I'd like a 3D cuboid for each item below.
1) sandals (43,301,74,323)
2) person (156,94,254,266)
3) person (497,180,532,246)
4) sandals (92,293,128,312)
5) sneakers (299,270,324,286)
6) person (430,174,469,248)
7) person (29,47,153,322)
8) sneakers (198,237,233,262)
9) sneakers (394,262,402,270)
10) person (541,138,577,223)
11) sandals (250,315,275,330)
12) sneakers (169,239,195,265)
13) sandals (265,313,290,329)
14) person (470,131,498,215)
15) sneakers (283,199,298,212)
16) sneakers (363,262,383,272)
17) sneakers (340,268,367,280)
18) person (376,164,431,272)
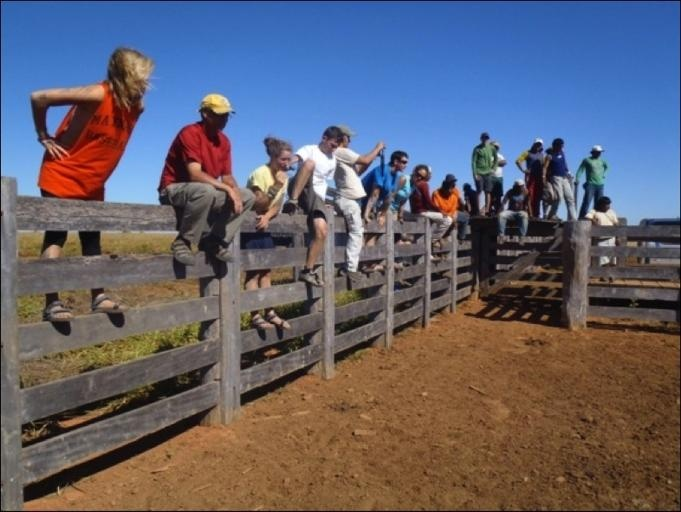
[{"bbox_3d":[-2.308,0.453,3.710,0.186,0.174,0.278,-5,8,-39],"label":"sandals"},{"bbox_3d":[-1.374,-0.782,4.650,0.888,1.728,0.712,-2,7,-24],"label":"person"},{"bbox_3d":[4.606,-1.197,11.996,0.788,1.586,1.192,3,7,22],"label":"person"},{"bbox_3d":[-2.061,0.442,4.071,0.269,0.146,0.162,1,8,13],"label":"sandals"},{"bbox_3d":[-0.378,0.301,6.239,0.276,0.138,0.198,10,15,20],"label":"sneakers"},{"bbox_3d":[2.654,-1.125,10.804,0.830,1.604,0.789,-2,8,-15],"label":"person"},{"bbox_3d":[-2.157,-0.685,4.030,0.922,2.373,0.710,-4,8,-36],"label":"person"},{"bbox_3d":[-1.287,-0.072,4.863,0.385,0.191,0.163,30,-31,-26],"label":"sneakers"},{"bbox_3d":[1.117,0.186,8.747,0.105,0.069,0.145,5,-2,-17],"label":"sneakers"},{"bbox_3d":[5.981,-2.080,12.289,0.730,2.129,0.977,5,8,38],"label":"person"},{"bbox_3d":[-1.009,0.824,5.676,0.153,0.124,0.255,-4,2,-43],"label":"sandals"},{"bbox_3d":[-1.532,-0.051,4.434,0.128,0.137,0.320,-17,45,-36],"label":"sneakers"},{"bbox_3d":[-0.802,0.864,5.886,0.304,0.128,0.165,34,35,-6],"label":"sandals"},{"bbox_3d":[4.009,-2.252,12.623,0.517,2.164,0.976,4,7,30],"label":"person"},{"bbox_3d":[-0.703,-0.718,6.506,0.201,0.237,0.134,-1,18,-6],"label":"sneakers"},{"bbox_3d":[0.559,0.198,7.741,0.165,0.102,0.264,0,6,31],"label":"sneakers"},{"bbox_3d":[0.225,0.291,7.140,0.395,0.221,0.155,-5,22,-18],"label":"sneakers"},{"bbox_3d":[1.237,-0.711,8.849,0.805,2.671,0.773,10,32,0],"label":"person"}]
